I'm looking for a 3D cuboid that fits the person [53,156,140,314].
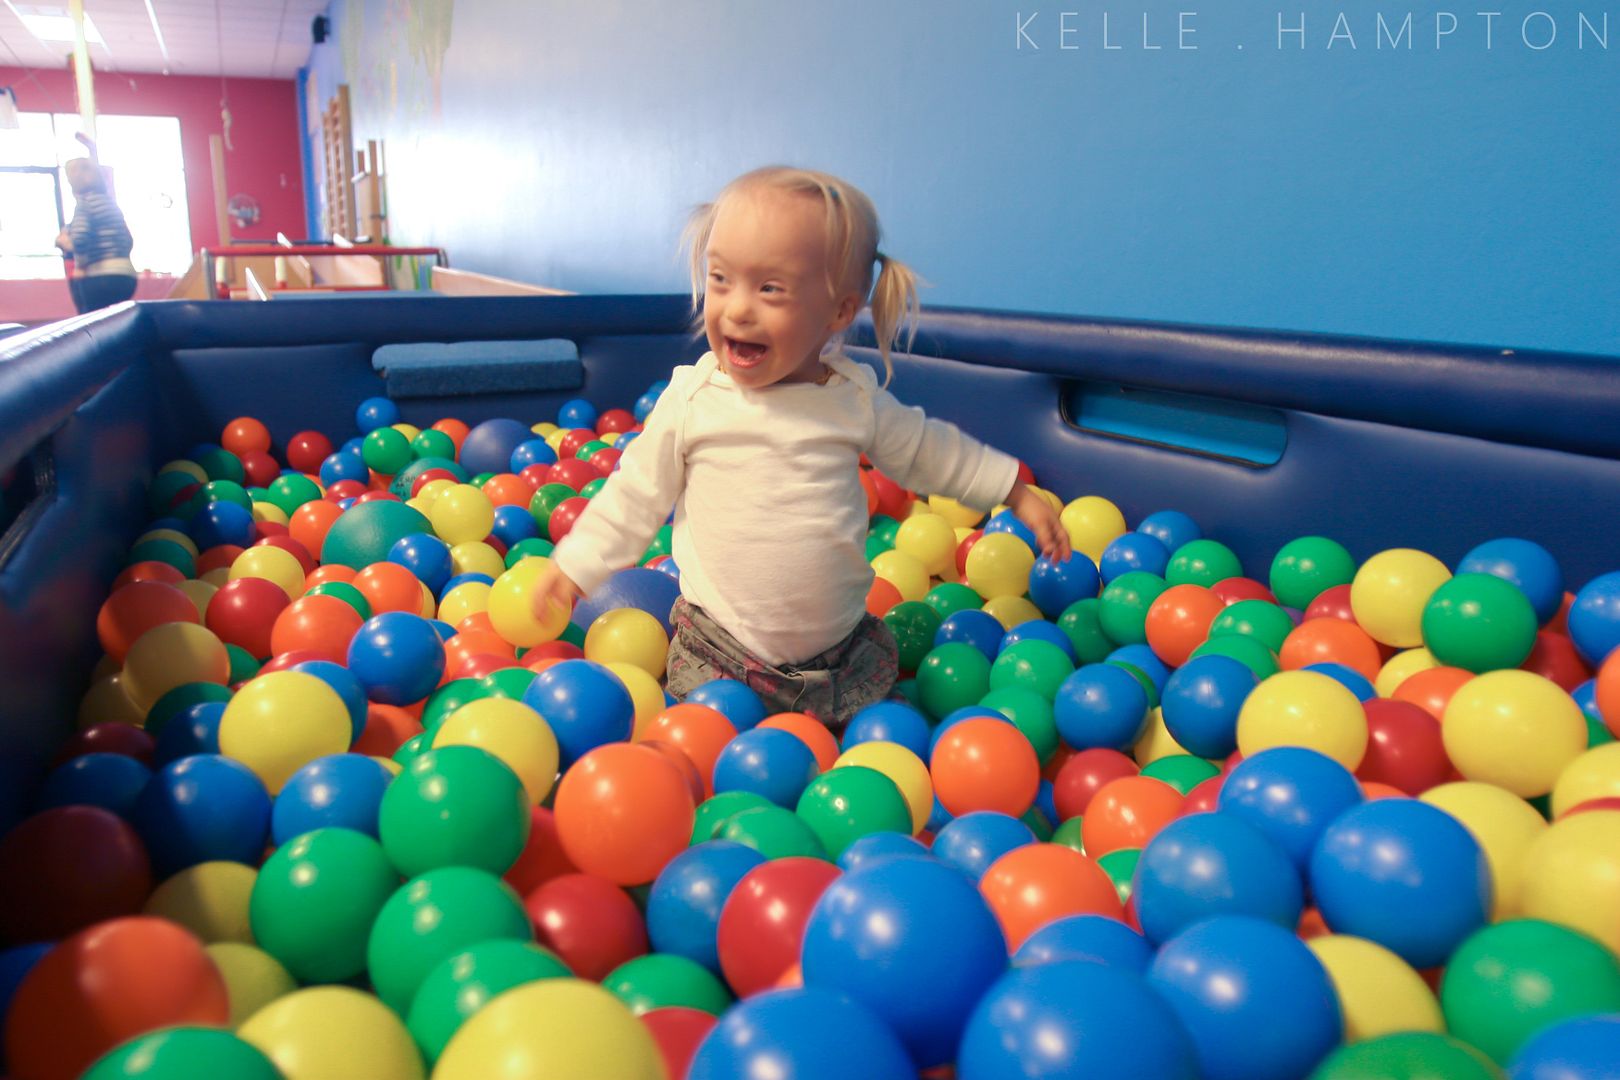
[{"bbox_3d":[-3.900,-1.640,5.784,0.344,0.870,0.701,-13,27,-32],"label":"person"}]
